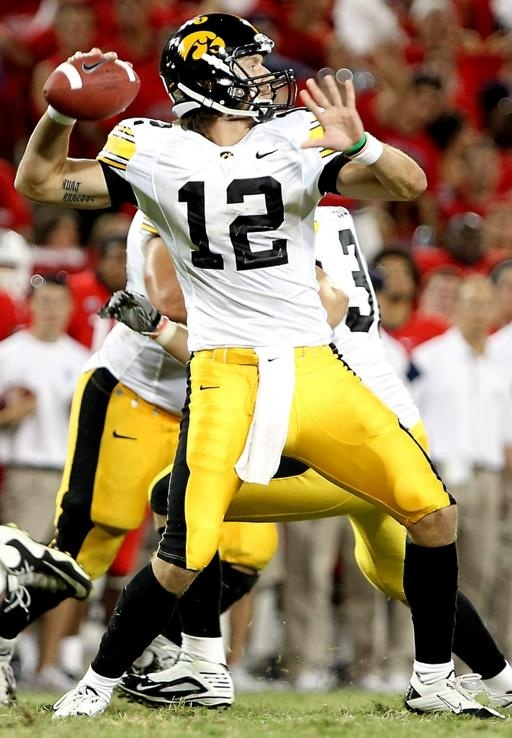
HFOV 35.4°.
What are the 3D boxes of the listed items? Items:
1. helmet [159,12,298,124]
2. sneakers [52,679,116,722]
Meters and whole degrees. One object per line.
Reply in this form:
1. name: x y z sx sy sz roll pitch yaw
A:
1. helmet: -0.055 -0.797 2.177 0.412 0.269 0.274 -1 10 7
2. sneakers: -0.437 0.858 2.109 0.072 0.072 0.185 16 -3 20
